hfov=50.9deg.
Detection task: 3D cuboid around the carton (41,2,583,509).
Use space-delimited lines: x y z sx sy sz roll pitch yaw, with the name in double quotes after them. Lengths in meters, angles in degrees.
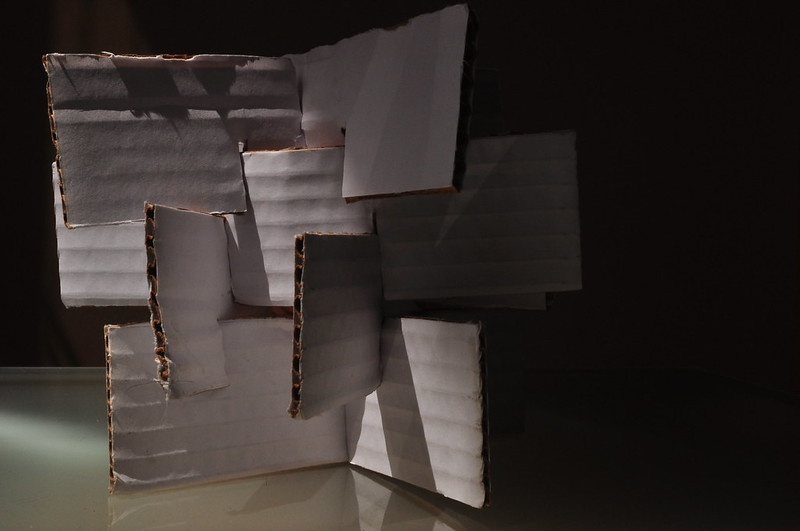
-0.351 -0.083 3.011 1.869 0.686 1.776 -6 -93 4 "carton"
